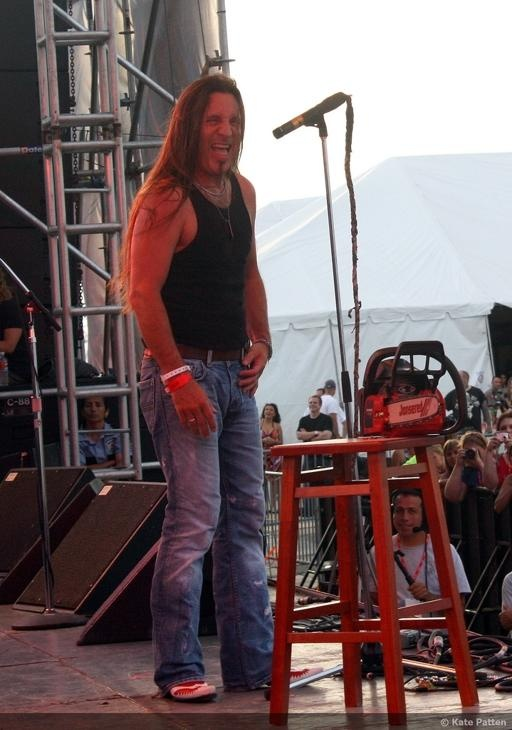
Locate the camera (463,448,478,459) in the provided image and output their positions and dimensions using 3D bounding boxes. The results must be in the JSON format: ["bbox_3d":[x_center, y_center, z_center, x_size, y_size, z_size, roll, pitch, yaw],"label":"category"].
[{"bbox_3d":[1.278,0.539,5.000,0.071,0.065,0.072,0,-13,3],"label":"camera"}]

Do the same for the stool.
[{"bbox_3d":[0.235,0.476,1.941,0.483,0.698,0.441,-2,7,0],"label":"stool"}]

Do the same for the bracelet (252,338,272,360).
[{"bbox_3d":[0.021,-0.046,2.473,0.059,0.058,0.024,-3,-7,4],"label":"bracelet"}]

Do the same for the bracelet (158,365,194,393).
[{"bbox_3d":[-0.197,0.037,2.160,0.073,0.071,0.072,25,25,33],"label":"bracelet"}]

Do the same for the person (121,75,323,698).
[{"bbox_3d":[-0.160,0.078,2.396,0.424,1.692,0.658,-2,-1,25],"label":"person"}]

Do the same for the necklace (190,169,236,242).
[{"bbox_3d":[-0.093,-0.402,2.293,0.073,0.198,0.223,-2,-1,27],"label":"necklace"}]
